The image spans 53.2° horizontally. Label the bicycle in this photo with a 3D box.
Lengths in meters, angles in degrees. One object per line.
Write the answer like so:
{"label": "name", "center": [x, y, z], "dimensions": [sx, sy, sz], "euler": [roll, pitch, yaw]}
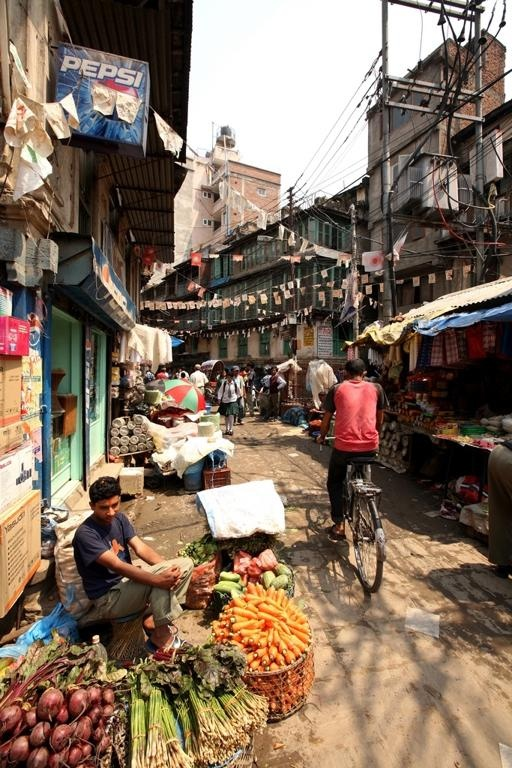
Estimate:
{"label": "bicycle", "center": [0.930, 1.172, 4.394], "dimensions": [0.302, 0.988, 1.211], "euler": [0, 5, 7]}

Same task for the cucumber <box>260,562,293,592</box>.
{"label": "cucumber", "center": [0.165, 1.432, 3.791], "dimensions": [0.113, 0.099, 0.203], "euler": [14, -2, 6]}

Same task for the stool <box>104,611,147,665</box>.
{"label": "stool", "center": [-0.818, 1.644, 3.401], "dimensions": [0.449, 0.284, 0.309], "euler": [4, 1, -6]}

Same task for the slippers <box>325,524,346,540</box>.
{"label": "slippers", "center": [0.801, 1.499, 5.143], "dimensions": [0.100, 0.082, 0.209], "euler": [2, 5, 0]}

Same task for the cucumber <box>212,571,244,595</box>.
{"label": "cucumber", "center": [-0.212, 1.472, 3.760], "dimensions": [0.145, 0.071, 0.202], "euler": [9, 5, -11]}

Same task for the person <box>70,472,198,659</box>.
{"label": "person", "center": [-0.821, 1.131, 3.368], "dimensions": [0.754, 1.145, 0.416], "euler": [0, 5, 6]}

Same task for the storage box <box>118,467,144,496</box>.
{"label": "storage box", "center": [-1.695, 1.312, 6.914], "dimensions": [0.243, 0.358, 0.488], "euler": [0, -1, -5]}

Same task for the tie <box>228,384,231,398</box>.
{"label": "tie", "center": [-0.636, 0.185, 11.968], "dimensions": [0.091, 0.304, 0.212], "euler": [-1, 5, -3]}

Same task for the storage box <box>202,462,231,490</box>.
{"label": "storage box", "center": [-0.541, 1.267, 6.849], "dimensions": [0.350, 0.303, 0.266], "euler": [-2, 5, -12]}

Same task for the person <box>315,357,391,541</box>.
{"label": "person", "center": [0.870, 0.599, 4.831], "dimensions": [0.533, 1.548, 0.727], "euler": [0, 1, -15]}

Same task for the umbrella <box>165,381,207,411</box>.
{"label": "umbrella", "center": [-1.439, 0.270, 10.286], "dimensions": [0.785, 0.588, 1.571], "euler": [-2, 5, -14]}
